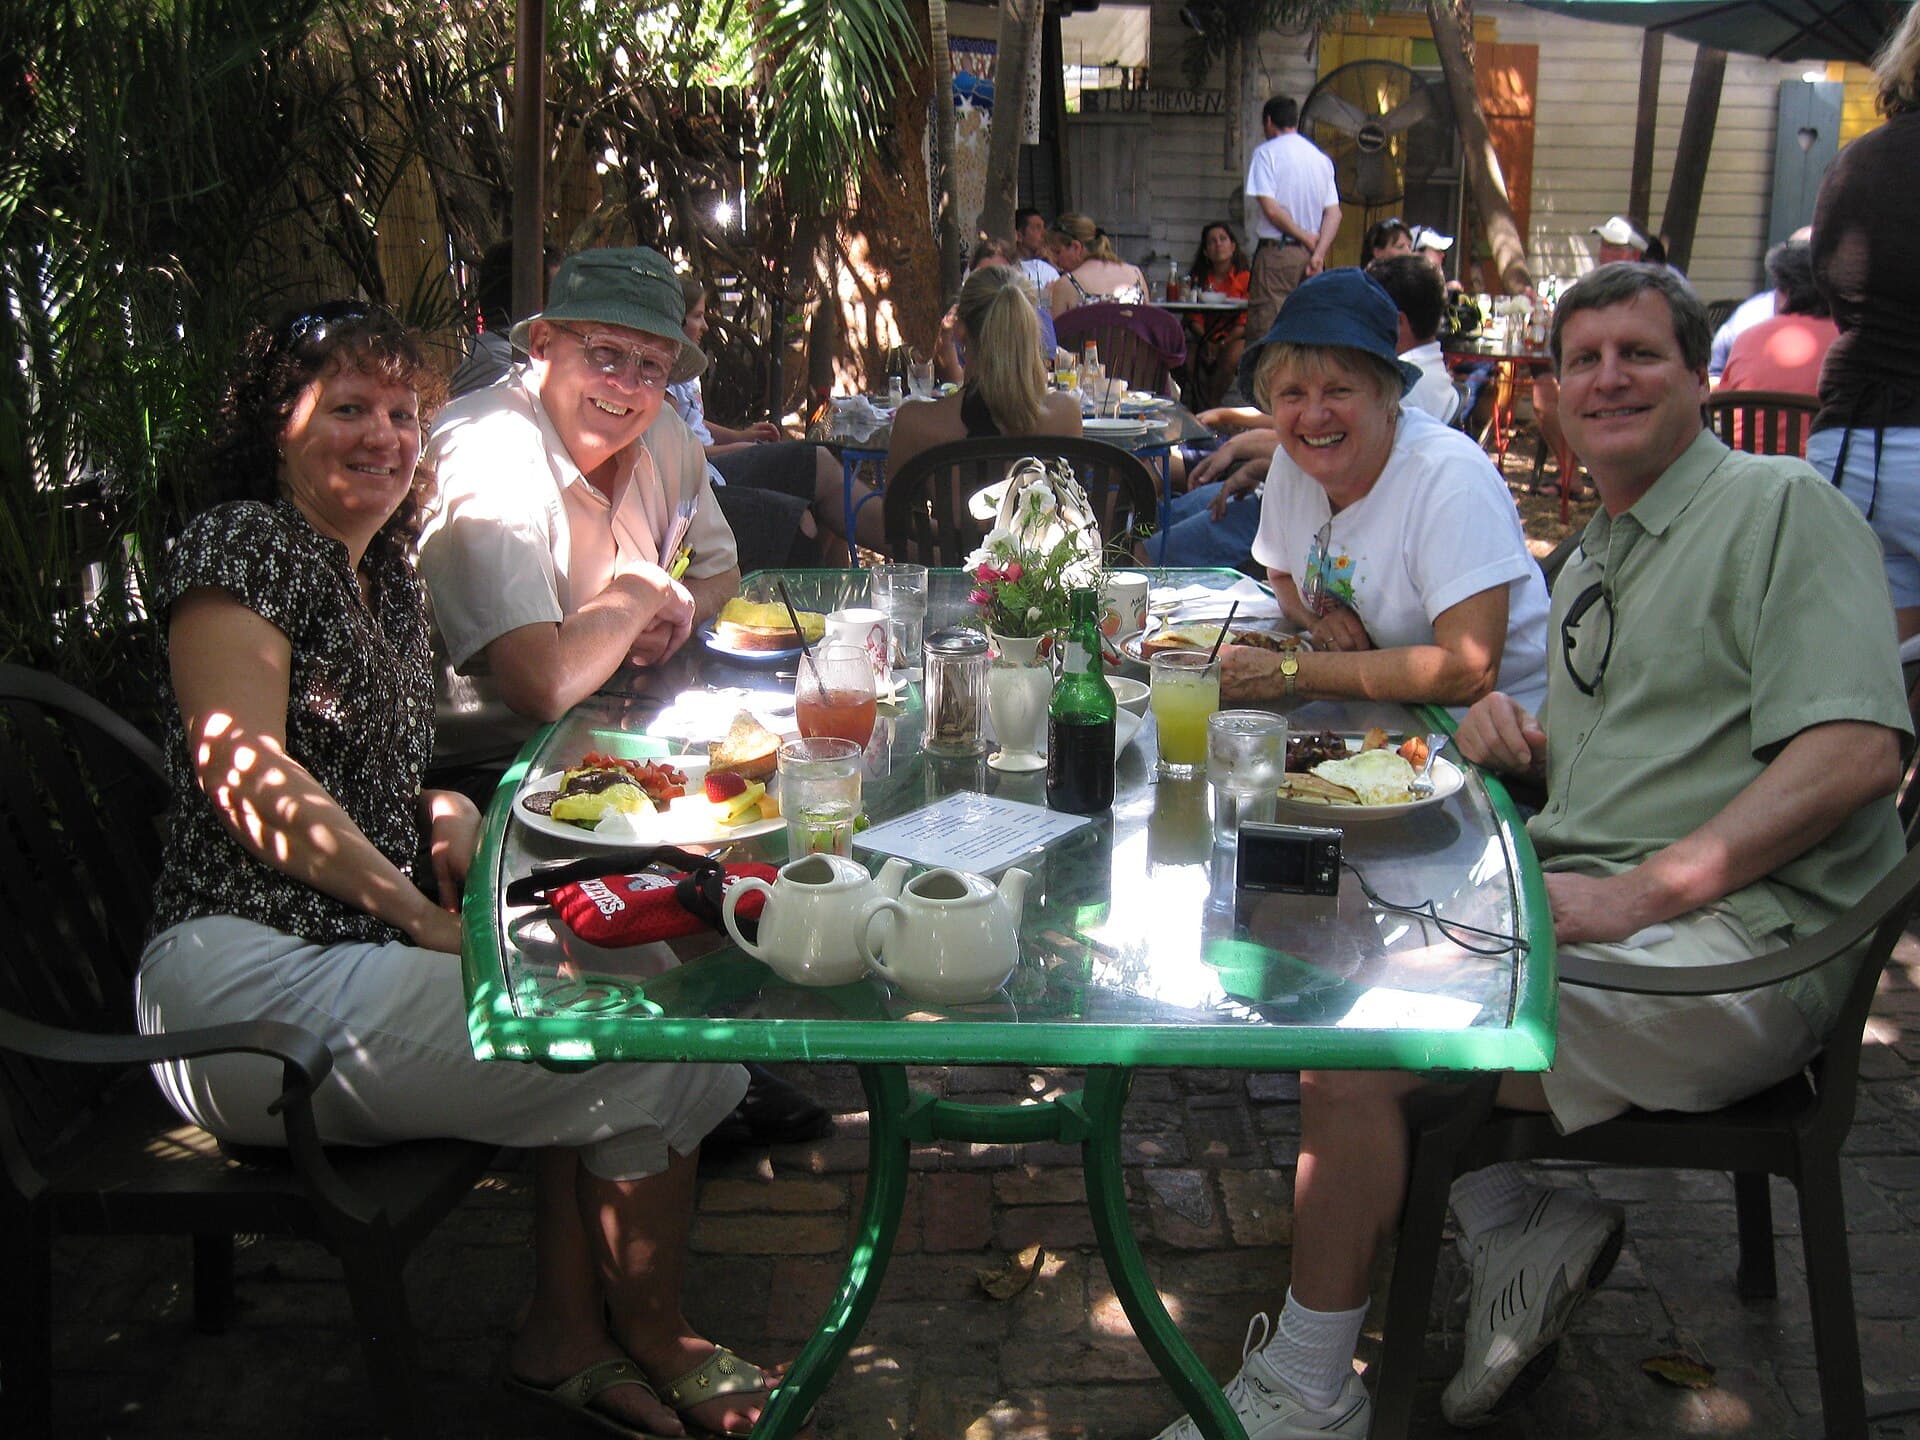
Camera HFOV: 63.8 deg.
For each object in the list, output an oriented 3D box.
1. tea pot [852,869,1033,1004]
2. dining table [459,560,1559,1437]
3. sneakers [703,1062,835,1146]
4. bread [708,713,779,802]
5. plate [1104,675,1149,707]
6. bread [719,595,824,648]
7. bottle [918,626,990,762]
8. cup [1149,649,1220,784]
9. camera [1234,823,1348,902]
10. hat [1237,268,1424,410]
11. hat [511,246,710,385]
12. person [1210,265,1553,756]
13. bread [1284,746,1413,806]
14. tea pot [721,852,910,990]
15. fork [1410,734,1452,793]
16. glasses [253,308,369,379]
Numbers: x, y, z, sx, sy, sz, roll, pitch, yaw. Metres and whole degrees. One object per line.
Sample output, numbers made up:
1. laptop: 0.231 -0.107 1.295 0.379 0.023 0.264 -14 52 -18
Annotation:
1. tea pot: -0.015 0.262 1.852 0.237 0.150 0.166 -10 14 -38
2. dining table: 0.212 0.239 2.245 1.382 0.739 0.972 1 39 0
3. sneakers: -0.395 0.833 3.286 0.217 0.092 0.256 2 7 -5
4. bread: -0.326 0.059 2.335 0.086 0.057 0.162 4 31 4
5. plate: 0.313 -0.055 2.810 0.069 0.019 0.068 -12 27 -31
6. bread: -0.388 -0.190 3.091 0.168 0.053 0.173 5 8 15
7. bottle: -0.002 -0.018 2.593 0.131 0.199 0.132 1 -20 0
8. cup: 0.356 -0.013 2.479 0.126 0.203 0.127 0 1 0
9. camera: 0.421 0.179 1.966 0.140 0.103 0.084 1 10 7
10. hat: 0.778 -0.819 3.203 0.386 0.237 0.459 11 3 31
11. hat: -0.685 -0.848 3.222 0.306 0.176 0.316 4 -17 -2
12. person: 0.850 -0.449 3.242 0.751 0.864 0.694 -12 16 -23
13. bread: 0.613 0.090 2.363 0.110 0.033 0.111 -5 14 -6
14. tea pot: -0.180 0.243 1.888 0.225 0.152 0.159 -3 10 -28
15. fork: 0.775 0.074 2.483 0.038 0.080 0.094 -17 21 27
16. glasses: -1.066 -0.618 2.502 0.109 0.050 0.137 -2 -10 -26
